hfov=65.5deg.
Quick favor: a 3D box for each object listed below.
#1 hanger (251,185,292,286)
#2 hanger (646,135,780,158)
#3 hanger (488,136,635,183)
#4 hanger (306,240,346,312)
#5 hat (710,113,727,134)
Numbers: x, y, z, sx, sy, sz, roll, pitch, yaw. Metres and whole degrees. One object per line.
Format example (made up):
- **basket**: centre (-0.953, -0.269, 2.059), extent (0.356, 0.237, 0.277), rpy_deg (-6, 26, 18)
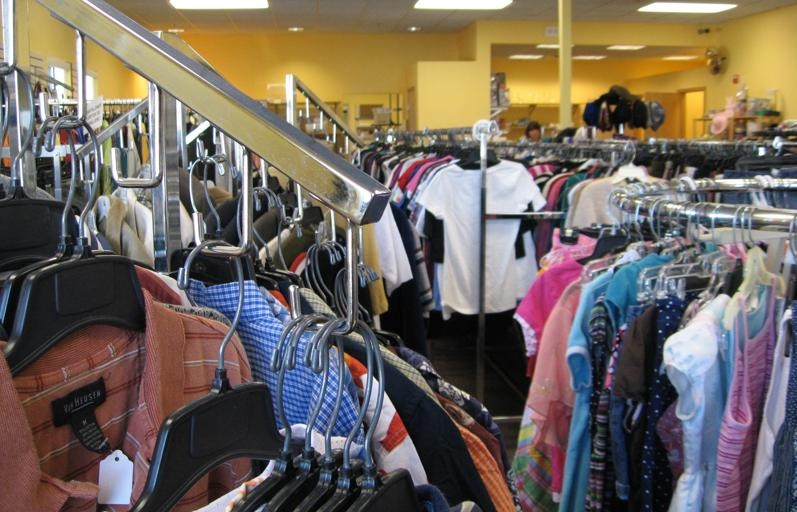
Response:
- **hanger**: centre (-0.417, -0.066, 1.910), extent (0.101, 0.291, 0.198), rpy_deg (2, 7, 16)
- **hanger**: centre (1.540, -0.559, 3.167), extent (0.259, 0.106, 0.835), rpy_deg (-6, 9, -35)
- **hanger**: centre (0.947, -0.646, 3.805), extent (0.217, 0.180, 1.549), rpy_deg (-34, 25, -16)
- **hanger**: centre (-0.231, 0.057, 1.960), extent (0.051, 0.218, 0.151), rpy_deg (-7, 17, 7)
- **hat**: centre (3.193, -1.316, 6.196), extent (0.124, 0.209, 0.397), rpy_deg (2, 8, 23)
